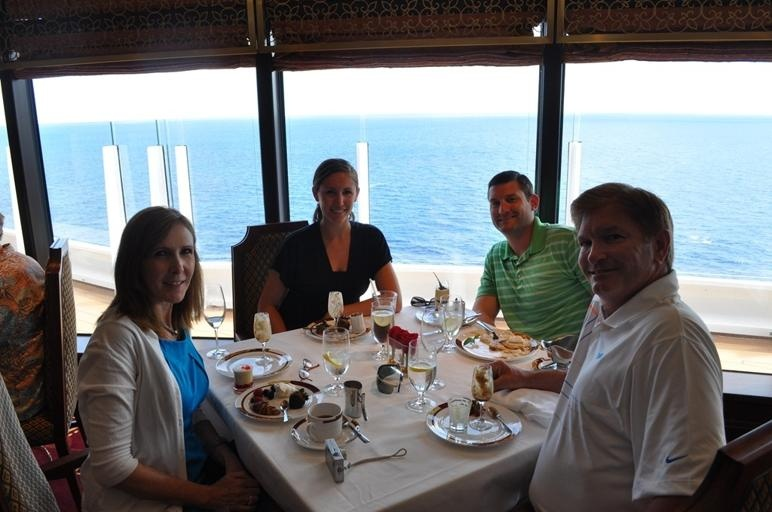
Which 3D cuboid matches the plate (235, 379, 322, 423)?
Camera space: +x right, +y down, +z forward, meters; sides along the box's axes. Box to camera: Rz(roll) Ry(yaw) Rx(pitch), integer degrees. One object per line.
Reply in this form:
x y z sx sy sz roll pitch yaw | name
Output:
-0.489 0.651 2.604 0.204 0.027 0.199 -7 24 -24 | plate

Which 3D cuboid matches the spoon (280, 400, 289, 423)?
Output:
-0.440 0.674 2.552 0.023 0.018 0.105 -5 25 -4 | spoon

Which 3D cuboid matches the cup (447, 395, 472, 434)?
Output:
0.306 0.665 2.515 0.122 0.131 0.125 1 15 0 | cup

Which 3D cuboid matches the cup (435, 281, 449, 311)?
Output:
0.289 0.230 3.310 0.089 0.146 0.143 1 15 1 | cup

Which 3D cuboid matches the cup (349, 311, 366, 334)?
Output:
-0.159 0.369 3.187 0.073 0.099 0.114 -2 5 -13 | cup

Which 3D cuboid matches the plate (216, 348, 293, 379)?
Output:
-0.654 0.524 2.911 0.184 0.021 0.179 -8 23 -24 | plate

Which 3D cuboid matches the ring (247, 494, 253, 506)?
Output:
-0.565 1.011 2.433 0.027 0.035 0.011 3 -10 -5 | ring

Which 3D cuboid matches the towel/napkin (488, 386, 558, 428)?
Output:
0.623 0.640 2.595 0.155 0.047 0.198 -17 29 -36 | towel/napkin

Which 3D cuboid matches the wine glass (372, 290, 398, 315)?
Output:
-0.009 0.255 3.151 0.117 0.127 0.132 0 12 -5 | wine glass

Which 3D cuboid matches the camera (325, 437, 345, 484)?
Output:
-0.203 0.805 2.292 0.037 0.077 0.125 -6 17 -15 | camera

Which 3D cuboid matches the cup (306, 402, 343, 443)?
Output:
-0.251 0.687 2.474 0.123 0.111 0.159 7 22 17 | cup

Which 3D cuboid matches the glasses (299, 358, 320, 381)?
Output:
-0.377 0.551 2.857 0.028 0.084 0.081 18 11 16 | glasses

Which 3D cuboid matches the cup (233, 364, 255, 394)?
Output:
-0.669 0.568 2.738 0.104 0.113 0.102 0 8 0 | cup

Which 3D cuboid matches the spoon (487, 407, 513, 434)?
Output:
0.481 0.701 2.511 0.036 0.024 0.167 -5 15 -9 | spoon

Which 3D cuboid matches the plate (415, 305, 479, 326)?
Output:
0.298 0.347 3.365 0.173 0.025 0.173 10 15 35 | plate
